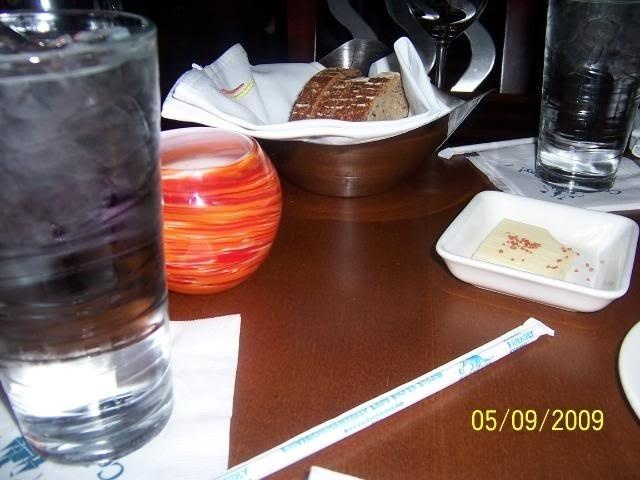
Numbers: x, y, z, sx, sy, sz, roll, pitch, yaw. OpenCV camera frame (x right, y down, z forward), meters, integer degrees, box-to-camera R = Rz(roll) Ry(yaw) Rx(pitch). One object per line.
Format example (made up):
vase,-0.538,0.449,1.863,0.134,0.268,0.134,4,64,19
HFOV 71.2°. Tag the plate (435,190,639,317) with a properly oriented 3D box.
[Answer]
plate,0.235,0.012,0.463,0.146,0.044,0.153,14,33,26
